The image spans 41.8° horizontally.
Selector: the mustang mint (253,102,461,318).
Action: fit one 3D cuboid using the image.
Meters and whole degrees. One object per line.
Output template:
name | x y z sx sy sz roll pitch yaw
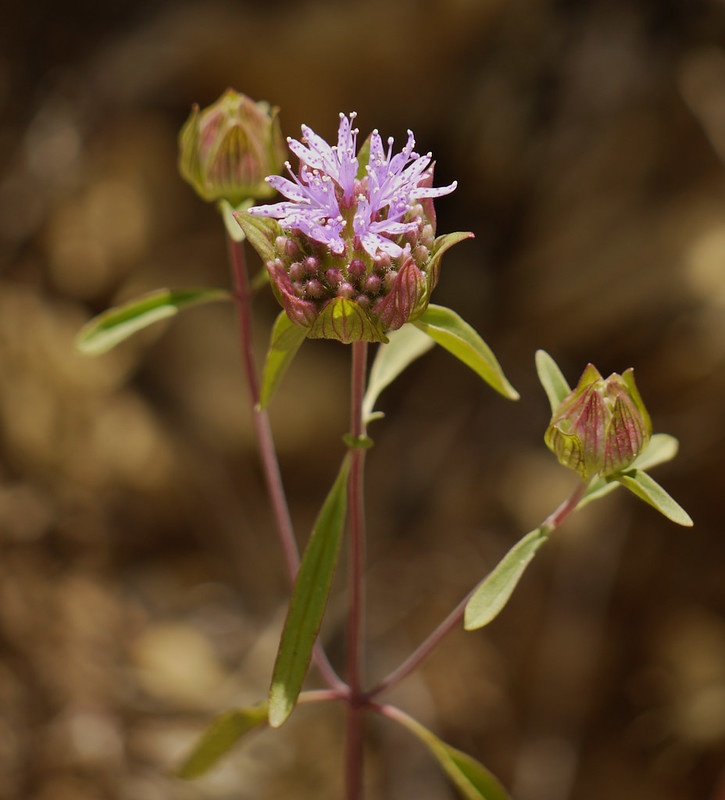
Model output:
mustang mint | -0.008 -0.263 1.405 0.286 0.317 0.222 3 3 24
